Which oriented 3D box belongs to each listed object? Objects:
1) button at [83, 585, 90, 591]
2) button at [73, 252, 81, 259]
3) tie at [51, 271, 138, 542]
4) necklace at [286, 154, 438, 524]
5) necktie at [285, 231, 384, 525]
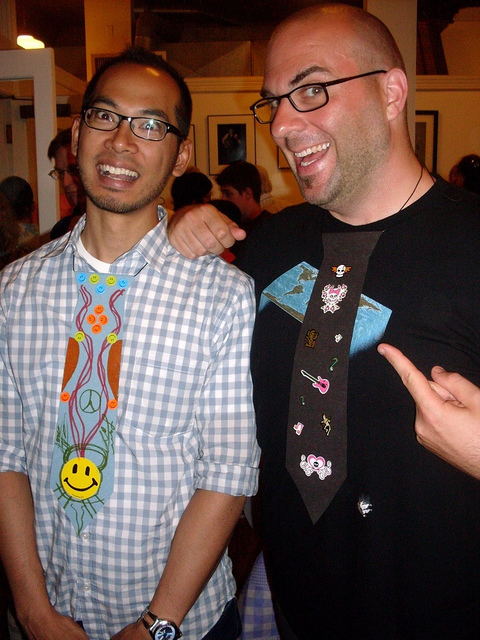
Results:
[{"bbox_3d":[-0.329,0.569,1.173,0.016,0.014,0.004,5,3,-7],"label":"button"},{"bbox_3d":[-0.382,-0.152,1.292,0.023,0.014,0.004,6,8,33],"label":"button"},{"bbox_3d":[-0.325,0.177,1.209,0.142,0.552,0.177,2,7,6],"label":"tie"},{"bbox_3d":[0.243,0.038,1.237,0.260,0.793,0.020,-2,-19,38],"label":"necklace"},{"bbox_3d":[0.194,0.112,1.182,0.143,0.598,0.183,5,8,25],"label":"necktie"}]
